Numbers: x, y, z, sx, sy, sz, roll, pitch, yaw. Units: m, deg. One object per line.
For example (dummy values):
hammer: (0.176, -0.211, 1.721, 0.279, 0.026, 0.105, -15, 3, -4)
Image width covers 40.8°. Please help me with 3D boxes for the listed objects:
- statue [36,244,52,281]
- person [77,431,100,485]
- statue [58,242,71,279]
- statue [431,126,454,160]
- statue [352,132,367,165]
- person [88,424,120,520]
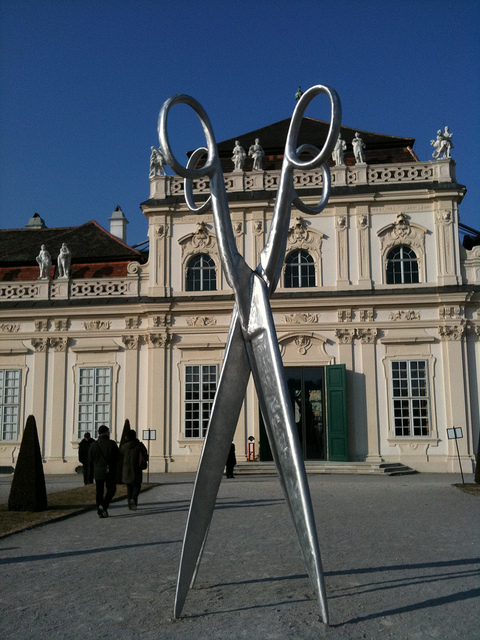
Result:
statue: (-6.811, -1.987, 22.405, 0.434, 1.527, 1.705, 1, -6, -16)
person: (-3.344, 3.135, 14.337, 0.409, 1.278, 0.324, -2, -34, -20)
statue: (-5.931, -1.957, 21.771, 0.367, 1.225, 0.501, 1, -5, -18)
statue: (6.438, -5.643, 20.597, 0.566, 1.199, 0.724, -2, -6, 15)
statue: (3.938, -5.652, 21.401, 0.408, 1.486, 1.242, -2, -6, 10)
person: (-2.043, 2.286, 9.792, 0.356, 1.398, 0.555, 0, -5, 6)
